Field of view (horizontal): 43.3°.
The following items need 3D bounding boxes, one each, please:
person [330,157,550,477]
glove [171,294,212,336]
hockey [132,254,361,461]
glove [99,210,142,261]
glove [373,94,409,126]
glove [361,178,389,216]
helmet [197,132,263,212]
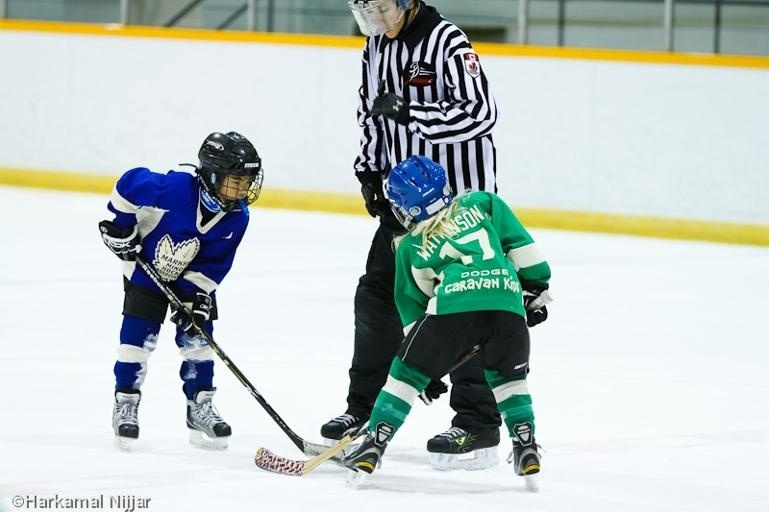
[{"bbox_3d":[0.303,0.262,4.110,0.801,1.353,0.363,6,6,0],"label":"person"},{"bbox_3d":[-0.876,0.264,4.447,0.150,0.183,0.094,5,6,7],"label":"glove"},{"bbox_3d":[-0.675,0.499,4.373,1.445,0.534,0.126,46,38,11],"label":"hockey"},{"bbox_3d":[-1.186,-0.088,4.414,0.189,0.184,0.081,-20,21,44],"label":"glove"},{"bbox_3d":[0.041,-0.662,4.353,0.166,0.116,0.047,30,-13,-3],"label":"glove"},{"bbox_3d":[-0.051,-0.267,4.601,0.134,0.164,0.083,-31,-46,23],"label":"glove"},{"bbox_3d":[-0.704,-0.388,4.378,0.294,0.357,0.142,5,6,-13],"label":"helmet"}]
